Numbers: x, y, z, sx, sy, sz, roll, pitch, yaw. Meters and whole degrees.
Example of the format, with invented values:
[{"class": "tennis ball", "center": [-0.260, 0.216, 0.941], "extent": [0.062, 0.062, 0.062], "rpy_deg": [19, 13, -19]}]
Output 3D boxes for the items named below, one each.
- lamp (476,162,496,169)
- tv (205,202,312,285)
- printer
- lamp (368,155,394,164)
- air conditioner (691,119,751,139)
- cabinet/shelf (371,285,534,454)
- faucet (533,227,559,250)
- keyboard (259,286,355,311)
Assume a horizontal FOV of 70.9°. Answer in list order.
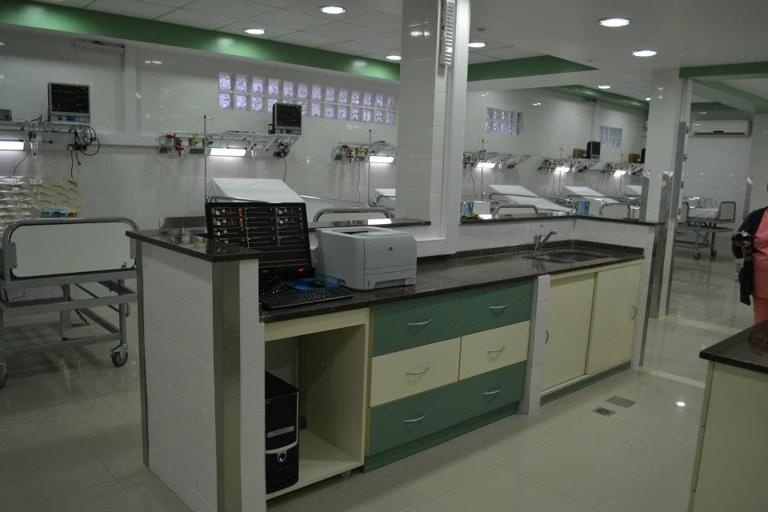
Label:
[{"class": "lamp", "center": [2.063, -1.837, 10.882], "extent": [0.490, 0.137, 0.088], "rpy_deg": [-8, 16, -39]}, {"class": "tv", "center": [-0.810, -0.096, 3.595], "extent": [0.685, 0.533, 0.177], "rpy_deg": [-7, 15, -34]}, {"class": "printer", "center": [-0.125, -0.051, 3.733], "extent": [0.505, 0.305, 0.514], "rpy_deg": [-6, 11, -35]}, {"class": "lamp", "center": [-0.048, -1.723, 9.618], "extent": [0.522, 0.136, 0.092], "rpy_deg": [-10, 17, -42]}, {"class": "air conditioner", "center": [6.552, -2.520, 10.579], "extent": [1.007, 0.305, 0.371], "rpy_deg": [5, 13, 16]}, {"class": "cabinet/shelf", "center": [0.325, 0.762, 4.267], "extent": [1.618, 1.144, 0.863], "rpy_deg": [-6, 11, -37]}, {"class": "faucet", "center": [1.627, -0.180, 5.509], "extent": [0.190, 0.206, 0.393], "rpy_deg": [6, 13, 18]}, {"class": "keyboard", "center": [-0.496, 0.255, 3.470], "extent": [0.629, 0.053, 0.265], "rpy_deg": [-5, 14, -29]}]
